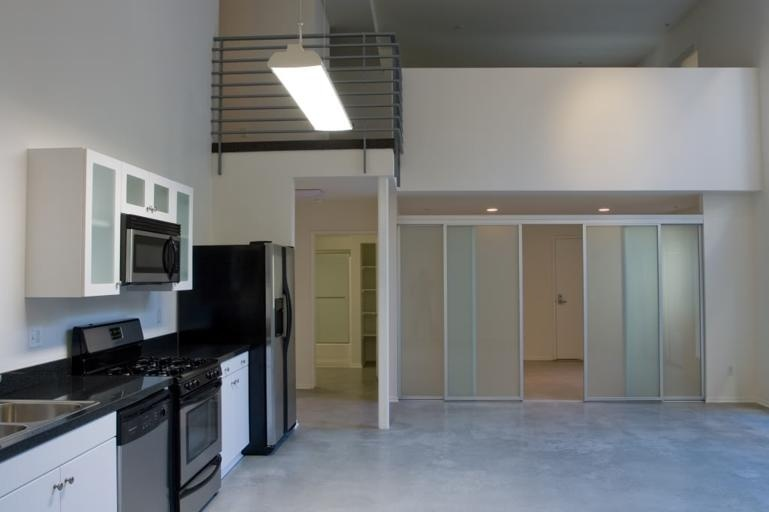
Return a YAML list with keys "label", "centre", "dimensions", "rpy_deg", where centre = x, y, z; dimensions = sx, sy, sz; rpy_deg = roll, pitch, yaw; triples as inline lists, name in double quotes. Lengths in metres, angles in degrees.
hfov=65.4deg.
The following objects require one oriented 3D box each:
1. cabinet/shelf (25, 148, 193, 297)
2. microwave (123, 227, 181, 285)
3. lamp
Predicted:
- label: "cabinet/shelf"
  centre: [-2.609, -0.212, 6.160]
  dimensions: [0.532, 1.240, 2.019]
  rpy_deg: [-1, -3, 8]
- label: "microwave"
  centre: [-2.454, 0.013, 5.967]
  dimensions: [0.495, 0.501, 0.826]
  rpy_deg: [-1, -3, 14]
- label: "lamp"
  centre: [-0.628, -1.701, 5.967]
  dimensions: [0.504, 0.733, 1.766]
  rpy_deg: [-1, -16, 7]
